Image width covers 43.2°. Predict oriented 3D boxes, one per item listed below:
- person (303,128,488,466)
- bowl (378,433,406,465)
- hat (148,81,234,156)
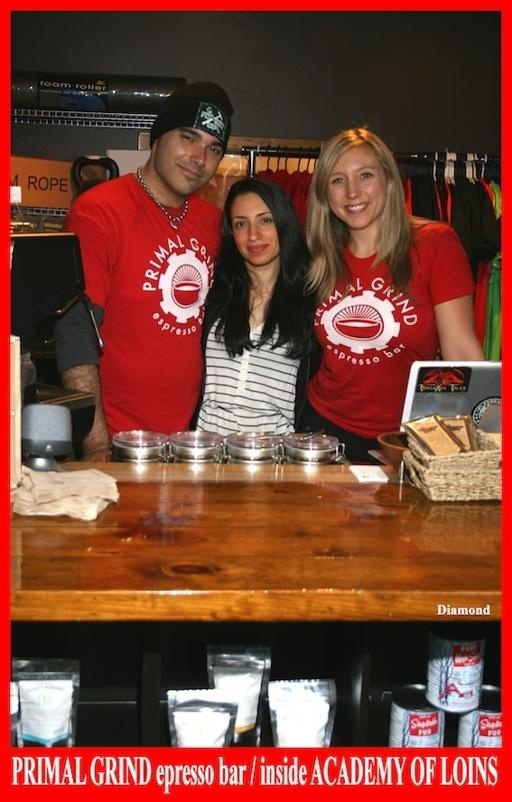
[{"bbox_3d":[0.474,-0.371,2.335,0.631,1.173,0.333,4,9,7],"label":"person"},{"bbox_3d":[0.344,0.112,1.609,0.080,0.057,0.077,0,6,0],"label":"bowl"},{"bbox_3d":[-0.237,-1.021,2.288,0.287,0.207,0.200,2,9,-4],"label":"hat"}]
